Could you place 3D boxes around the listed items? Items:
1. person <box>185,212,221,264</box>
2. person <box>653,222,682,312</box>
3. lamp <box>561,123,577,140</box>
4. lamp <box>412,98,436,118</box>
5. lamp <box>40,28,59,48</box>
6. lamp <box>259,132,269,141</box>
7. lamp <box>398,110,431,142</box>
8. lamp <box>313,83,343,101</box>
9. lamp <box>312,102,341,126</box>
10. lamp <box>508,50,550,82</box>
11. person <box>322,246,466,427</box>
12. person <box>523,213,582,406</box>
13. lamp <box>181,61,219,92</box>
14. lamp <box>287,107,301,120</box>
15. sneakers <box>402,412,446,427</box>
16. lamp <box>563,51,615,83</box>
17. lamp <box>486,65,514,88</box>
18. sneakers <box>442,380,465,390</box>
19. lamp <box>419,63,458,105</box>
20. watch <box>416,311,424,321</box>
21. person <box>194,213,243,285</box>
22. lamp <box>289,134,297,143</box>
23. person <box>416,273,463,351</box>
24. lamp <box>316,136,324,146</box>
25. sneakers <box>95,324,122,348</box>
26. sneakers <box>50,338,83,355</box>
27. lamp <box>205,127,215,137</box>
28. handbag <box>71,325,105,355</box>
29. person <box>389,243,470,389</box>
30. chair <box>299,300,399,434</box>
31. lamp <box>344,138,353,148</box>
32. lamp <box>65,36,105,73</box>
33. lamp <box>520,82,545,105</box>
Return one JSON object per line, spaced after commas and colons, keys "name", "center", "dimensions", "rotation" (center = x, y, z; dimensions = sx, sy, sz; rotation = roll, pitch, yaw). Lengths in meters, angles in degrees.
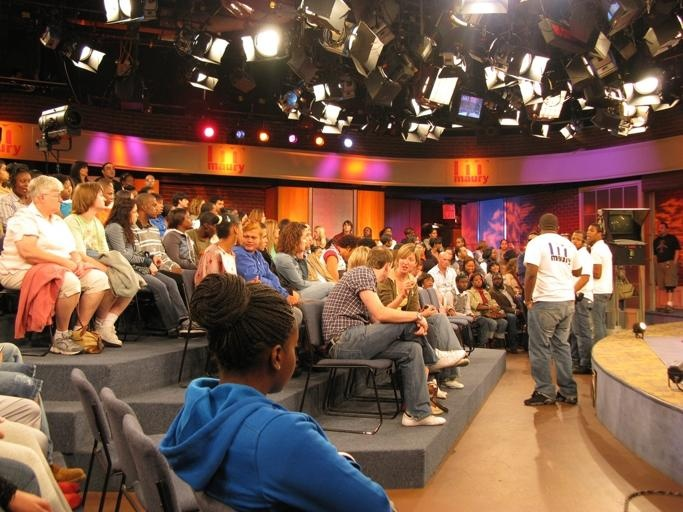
{"name": "person", "center": [-1.613, -0.116, 6.337], "dimensions": [0.384, 0.791, 0.386], "rotation": [3, -15, 3]}
{"name": "person", "center": [6.893, 0.155, 11.187], "dimensions": [0.378, 1.728, 0.743], "rotation": [1, -1, 10]}
{"name": "lamp", "center": [5.054, -2.768, 11.810], "dimensions": [0.324, 0.277, 0.306], "rotation": [1, -1, 9]}
{"name": "lamp", "center": [1.475, -2.692, 9.606], "dimensions": [0.350, 0.452, 0.348], "rotation": [1, 1, 38]}
{"name": "lamp", "center": [-4.707, -3.539, 8.605], "dimensions": [0.247, 0.316, 0.305], "rotation": [2, -1, -37]}
{"name": "lamp", "center": [-1.810, -2.825, 12.547], "dimensions": [0.253, 0.150, 0.187], "rotation": [2, -1, -23]}
{"name": "lamp", "center": [1.646, -2.822, 11.736], "dimensions": [0.509, 0.359, 0.533], "rotation": [4, -34, -6]}
{"name": "lamp", "center": [-0.231, -2.954, 9.529], "dimensions": [0.534, 0.174, 0.276], "rotation": [1, -1, 4]}
{"name": "lamp", "center": [-0.299, -2.857, 10.532], "dimensions": [0.676, 0.411, 0.382], "rotation": [13, 5, 6]}
{"name": "lamp", "center": [2.877, -2.895, 8.231], "dimensions": [0.608, 0.456, 0.336], "rotation": [6, 17, -19]}
{"name": "person", "center": [0.427, 0.795, 4.989], "dimensions": [1.349, 1.971, 0.863], "rotation": [-4, -10, 9]}
{"name": "person", "center": [2.214, 0.557, 5.641], "dimensions": [0.661, 2.035, 0.305], "rotation": [1, -1, -20]}
{"name": "lamp", "center": [-2.534, -3.230, 9.485], "dimensions": [0.538, 0.452, 0.477], "rotation": [31, 13, 39]}
{"name": "lamp", "center": [-0.913, -2.823, 10.524], "dimensions": [0.163, 0.149, 0.197], "rotation": [-7, 18, -34]}
{"name": "sneakers", "center": [0.636, 1.260, 4.116], "dimensions": [0.335, 0.122, 0.124], "rotation": [0, -3, -3]}
{"name": "lamp", "center": [3.885, -2.964, 8.250], "dimensions": [0.377, 0.358, 0.804], "rotation": [2, -2, -27]}
{"name": "lamp", "center": [2.522, -2.895, 8.585], "dimensions": [0.341, 0.357, 0.275], "rotation": [-1, 12, 14]}
{"name": "sneakers", "center": [1.145, 1.308, 5.393], "dimensions": [0.194, 0.095, 0.080], "rotation": [0, -2, 16]}
{"name": "lamp", "center": [1.717, -2.853, 8.974], "dimensions": [0.472, 0.669, 0.885], "rotation": [16, 16, 23]}
{"name": "watch", "center": [0.614, 0.470, 4.133], "dimensions": [0.017, 0.054, 0.053], "rotation": [-21, -22, 31]}
{"name": "person", "center": [-1.119, 0.042, 4.909], "dimensions": [0.334, 0.861, 0.554], "rotation": [1, -6, 18]}
{"name": "lamp", "center": [-1.175, -2.843, 12.813], "dimensions": [0.181, 0.191, 0.041], "rotation": [3, 0, -27]}
{"name": "person", "center": [1.080, 0.646, 5.619], "dimensions": [0.449, 0.657, 0.870], "rotation": [-2, -2, 21]}
{"name": "lamp", "center": [-0.537, -2.874, 13.180], "dimensions": [0.165, 0.222, 0.280], "rotation": [1, -1, 11]}
{"name": "sneakers", "center": [-2.069, 0.712, 4.722], "dimensions": [0.302, 0.208, 0.114], "rotation": [8, -3, -13]}
{"name": "sneakers", "center": [-2.231, 0.742, 4.364], "dimensions": [0.259, 0.144, 0.106], "rotation": [2, 1, 13]}
{"name": "lamp", "center": [-2.993, -2.813, 12.033], "dimensions": [0.219, 0.176, 0.110], "rotation": [1, -1, -14]}
{"name": "handbag", "center": [-2.104, 0.696, 4.394], "dimensions": [0.236, 0.186, 0.092], "rotation": [19, -42, -38]}
{"name": "person", "center": [0.786, 0.592, 5.204], "dimensions": [0.780, 1.407, 0.490], "rotation": [-3, 2, 39]}
{"name": "chair", "center": [0.028, 0.947, 4.643], "dimensions": [0.914, 1.442, 0.846], "rotation": [-1, -8, 11]}
{"name": "lamp", "center": [0.190, -2.887, 13.515], "dimensions": [0.271, 0.241, 0.077], "rotation": [2, -1, -30]}
{"name": "lamp", "center": [-4.265, -3.334, 8.890], "dimensions": [0.487, 0.375, 0.435], "rotation": [18, 9, 0]}
{"name": "lamp", "center": [3.341, -2.837, 9.357], "dimensions": [0.335, 0.395, 0.371], "rotation": [-13, 2, 32]}
